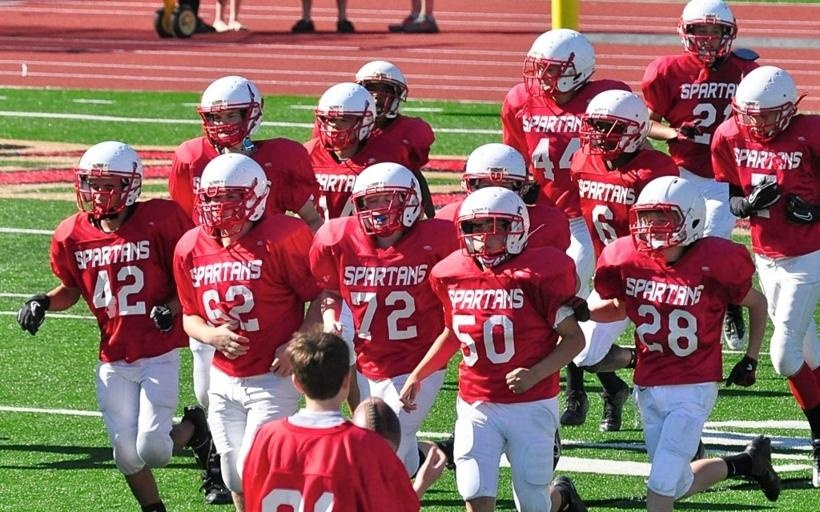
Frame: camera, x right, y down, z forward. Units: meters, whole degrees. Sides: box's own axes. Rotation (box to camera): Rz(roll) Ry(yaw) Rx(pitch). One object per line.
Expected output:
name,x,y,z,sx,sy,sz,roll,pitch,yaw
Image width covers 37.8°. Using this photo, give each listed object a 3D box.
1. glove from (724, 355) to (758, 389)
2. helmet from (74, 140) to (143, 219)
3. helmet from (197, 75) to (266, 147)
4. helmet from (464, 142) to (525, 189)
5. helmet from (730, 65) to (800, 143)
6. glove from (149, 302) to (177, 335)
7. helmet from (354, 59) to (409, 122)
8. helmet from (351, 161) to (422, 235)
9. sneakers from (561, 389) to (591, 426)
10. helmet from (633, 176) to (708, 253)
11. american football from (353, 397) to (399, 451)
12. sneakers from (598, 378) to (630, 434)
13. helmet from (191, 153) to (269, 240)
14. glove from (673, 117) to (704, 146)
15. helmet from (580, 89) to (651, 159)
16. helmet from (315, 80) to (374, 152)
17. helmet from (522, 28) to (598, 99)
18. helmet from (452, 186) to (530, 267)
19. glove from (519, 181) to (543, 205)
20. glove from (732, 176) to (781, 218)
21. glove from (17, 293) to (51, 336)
glove,2.275,0.781,8.218,0.189,0.231,0.162,1,8,19
helmet,-2.172,-0.584,8.520,0.474,0.439,0.552,10,13,26
helmet,-1.365,-1.133,9.042,0.453,0.461,0.572,2,17,13
helmet,0.607,-0.651,8.706,0.307,0.292,0.380,0,-25,-2
helmet,2.701,-1.215,9.085,0.468,0.452,0.587,7,35,38
glove,-1.698,0.434,8.317,0.148,0.199,0.193,-8,17,-1
helmet,-0.271,-1.386,9.791,0.373,0.384,0.459,-1,-9,-11
helmet,-0.175,-0.378,8.223,0.454,0.447,0.561,-8,-3,29
sneakers,1.291,1.215,9.466,0.130,0.157,0.380,1,7,13
helmet,1.768,-0.327,8.190,0.587,0.466,0.467,-11,9,-19
american football,-0.192,0.961,7.082,0.236,0.289,0.325,1,28,-4
sneakers,1.616,1.150,9.444,0.164,0.492,0.214,6,-5,29
helmet,-1.220,-0.462,8.270,0.458,0.465,0.560,3,16,29
glove,2.322,-1.072,9.945,0.181,0.109,0.240,-26,-16,5
helmet,1.543,-1.021,9.082,0.432,0.444,0.570,-3,8,35
helmet,-0.543,-1.081,9.087,0.424,0.403,0.515,-3,19,25
helmet,1.259,-1.652,9.838,0.598,0.441,0.435,-20,31,-23
helmet,0.575,-0.208,8.010,0.482,0.481,0.626,-4,0,23
glove,0.900,-0.477,8.790,0.147,0.163,0.184,-9,-20,26
glove,2.636,-0.470,9.023,0.366,0.235,0.152,-24,37,19
glove,-2.642,0.412,8.560,0.217,0.291,0.137,21,-18,31
